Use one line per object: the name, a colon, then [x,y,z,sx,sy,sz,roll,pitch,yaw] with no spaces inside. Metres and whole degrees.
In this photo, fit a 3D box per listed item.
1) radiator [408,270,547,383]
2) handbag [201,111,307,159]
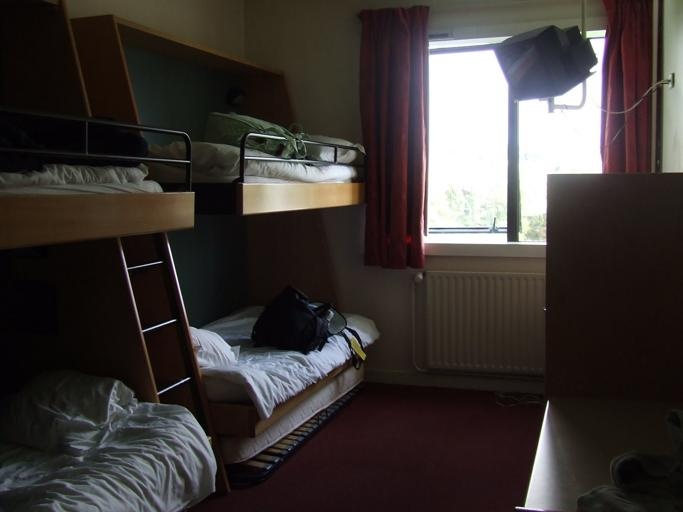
radiator: [1.002,0.491,3.879,0.780,0.617,0.085,1,4,14]
handbag: [-0.503,-0.700,3.157,0.382,0.160,0.359,13,4,-3]
